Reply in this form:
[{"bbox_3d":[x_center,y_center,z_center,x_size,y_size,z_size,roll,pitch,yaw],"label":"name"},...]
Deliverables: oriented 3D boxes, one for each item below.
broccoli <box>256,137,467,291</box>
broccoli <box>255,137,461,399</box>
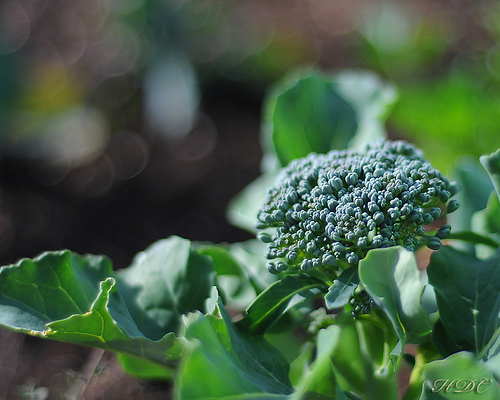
[{"bbox_3d":[0.158,0.058,0.873,0.222,0.176,0.227,-22,35,0],"label":"broccoli"},{"bbox_3d":[0.147,0.068,0.843,0.247,0.233,0.262,19,43,30],"label":"broccoli"}]
